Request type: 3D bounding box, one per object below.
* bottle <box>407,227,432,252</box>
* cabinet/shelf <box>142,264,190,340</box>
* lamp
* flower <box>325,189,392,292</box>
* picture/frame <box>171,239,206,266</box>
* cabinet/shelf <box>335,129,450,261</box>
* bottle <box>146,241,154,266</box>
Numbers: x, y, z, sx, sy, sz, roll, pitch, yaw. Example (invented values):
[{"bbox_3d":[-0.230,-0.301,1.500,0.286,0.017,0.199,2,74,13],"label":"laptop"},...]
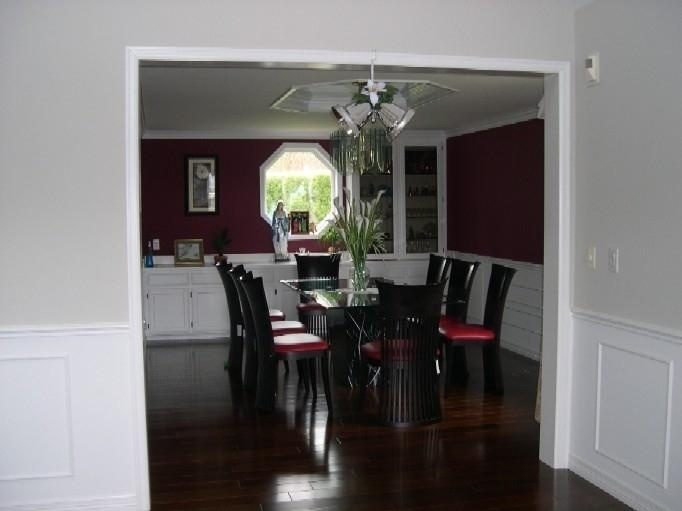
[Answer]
[{"bbox_3d":[1.179,-0.251,8.310,0.317,0.335,0.109,2,-7,-17],"label":"bottle"},{"bbox_3d":[-2.450,0.754,7.663,0.663,1.027,0.502,3,-25,-28],"label":"cabinet/shelf"},{"bbox_3d":[0.174,-1.195,4.735,0.724,1.319,0.722,-3,8,-41],"label":"lamp"},{"bbox_3d":[0.136,-0.151,5.369,0.667,0.968,0.683,-5,7,-28],"label":"flower"},{"bbox_3d":[-2.208,-0.046,7.865,0.339,0.389,0.028,0,-14,-9],"label":"picture/frame"},{"bbox_3d":[0.668,-0.853,7.258,1.649,2.265,0.599,1,0,-10],"label":"cabinet/shelf"},{"bbox_3d":[-2.745,-0.042,7.776,0.109,0.344,0.307,-2,7,-20],"label":"bottle"}]
